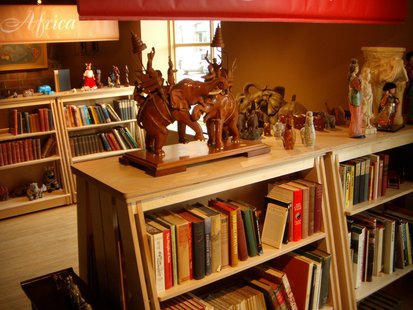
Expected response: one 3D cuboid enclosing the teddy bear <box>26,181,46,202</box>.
[{"bbox_3d":[-2.468,0.514,4.705,0.264,0.228,0.225,-6,10,-30],"label":"teddy bear"}]
